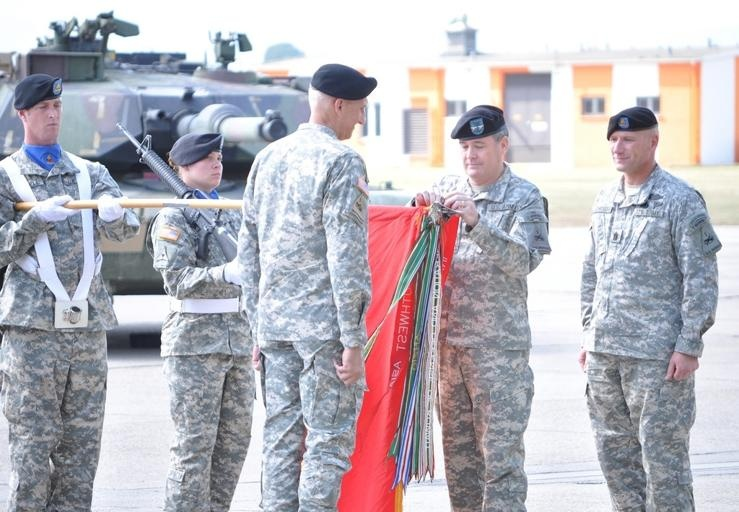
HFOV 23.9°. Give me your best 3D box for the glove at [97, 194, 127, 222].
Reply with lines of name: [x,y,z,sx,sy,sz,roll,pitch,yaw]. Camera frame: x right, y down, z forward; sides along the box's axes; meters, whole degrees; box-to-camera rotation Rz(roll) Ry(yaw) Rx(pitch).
glove: [-1.980,-0.372,13.507,0.232,0.184,0.181,-13,-43,10]

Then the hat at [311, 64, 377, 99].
hat: [-0.184,-1.289,12.815,0.415,0.168,0.264,-11,35,-6]

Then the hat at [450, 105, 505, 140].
hat: [0.863,-1.054,13.519,0.396,0.150,0.264,-11,2,19]

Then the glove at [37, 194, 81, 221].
glove: [-2.386,-0.375,13.365,0.285,0.083,0.184,-3,-26,-2]

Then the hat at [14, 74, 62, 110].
hat: [-2.610,-1.268,13.567,0.368,0.141,0.256,-21,-2,27]

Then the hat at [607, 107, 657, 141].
hat: [2.042,-1.042,13.667,0.326,0.135,0.239,-8,-3,38]
